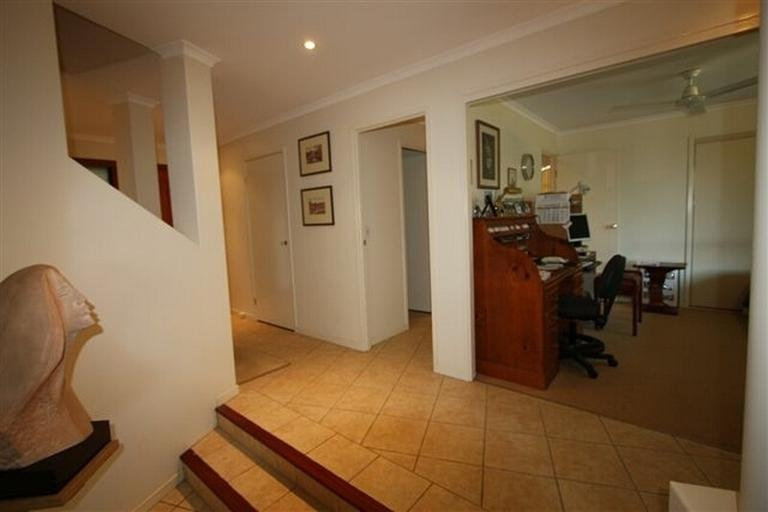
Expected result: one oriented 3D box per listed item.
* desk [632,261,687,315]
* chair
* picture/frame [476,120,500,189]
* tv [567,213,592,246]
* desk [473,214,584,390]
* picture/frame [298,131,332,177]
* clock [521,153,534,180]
[{"bbox_3d":[2.936,0.327,5.317,0.526,0.568,0.271,3,9,37],"label":"desk"},{"bbox_3d":[1.952,0.515,5.106,0.856,1.193,0.916,4,7,37],"label":"chair"},{"bbox_3d":[1.033,-1.007,5.037,0.070,0.717,0.750,-2,0,30],"label":"picture/frame"},{"bbox_3d":[2.194,-0.303,5.643,0.321,0.375,0.144,-8,8,-8],"label":"tv"},{"bbox_3d":[1.600,0.364,5.310,0.695,1.620,1.738,0,5,33],"label":"desk"},{"bbox_3d":[-0.746,-1.124,5.527,0.506,0.434,0.036,6,15,41],"label":"picture/frame"},{"bbox_3d":[1.644,-1.023,5.767,0.061,0.323,0.298,0,5,36],"label":"clock"}]
